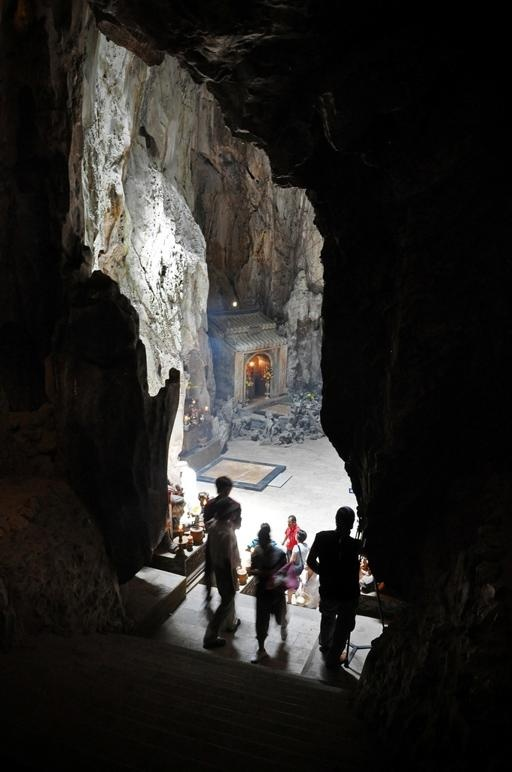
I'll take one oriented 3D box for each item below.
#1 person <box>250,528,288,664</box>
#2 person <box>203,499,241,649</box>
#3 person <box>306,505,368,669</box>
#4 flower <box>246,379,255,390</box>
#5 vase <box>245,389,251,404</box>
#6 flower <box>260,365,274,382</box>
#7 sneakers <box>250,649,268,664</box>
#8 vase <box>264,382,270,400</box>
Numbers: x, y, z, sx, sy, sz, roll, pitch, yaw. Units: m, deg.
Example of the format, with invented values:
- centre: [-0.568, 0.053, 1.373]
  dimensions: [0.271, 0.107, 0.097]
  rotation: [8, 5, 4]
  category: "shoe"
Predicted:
- centre: [0.107, 1.792, 4.553]
  dimensions: [0.300, 1.255, 0.539]
  rotation: [3, -2, 3]
  category: "person"
- centre: [-0.310, 1.698, 4.765]
  dimensions: [0.288, 1.431, 0.504]
  rotation: [3, -2, -5]
  category: "person"
- centre: [0.624, 1.664, 4.269]
  dimensions: [0.405, 1.470, 0.807]
  rotation: [3, -2, 13]
  category: "person"
- centre: [-0.250, -0.011, 21.777]
  dimensions: [0.062, 0.307, 0.281]
  rotation: [7, 8, 38]
  category: "flower"
- centre: [-0.317, 0.443, 21.619]
  dimensions: [0.173, 0.560, 0.570]
  rotation: [3, -2, -1]
  category: "vase"
- centre: [0.486, -0.425, 22.077]
  dimensions: [0.409, 0.580, 0.230]
  rotation: [3, -2, 9]
  category: "flower"
- centre: [0.031, 2.374, 4.709]
  dimensions: [0.063, 0.100, 0.211]
  rotation: [-2, -12, 16]
  category: "sneakers"
- centre: [0.458, 0.211, 22.198]
  dimensions: [0.271, 0.687, 0.107]
  rotation: [2, -2, 32]
  category: "vase"
